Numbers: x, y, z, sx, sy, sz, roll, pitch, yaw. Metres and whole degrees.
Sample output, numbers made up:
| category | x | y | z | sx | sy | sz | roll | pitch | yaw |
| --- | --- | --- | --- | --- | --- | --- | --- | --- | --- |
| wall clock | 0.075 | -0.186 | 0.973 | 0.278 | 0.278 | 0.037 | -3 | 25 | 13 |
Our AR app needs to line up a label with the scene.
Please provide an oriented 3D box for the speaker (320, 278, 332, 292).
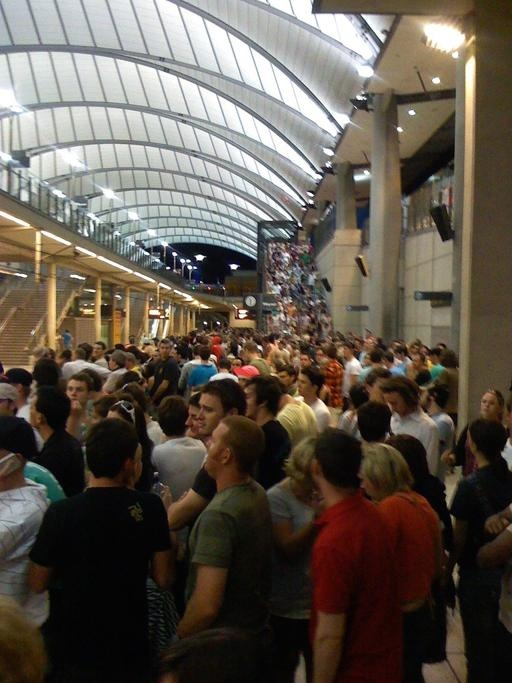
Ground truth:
| category | x | y | z | sx | sy | sz | roll | pitch | yaw |
| --- | --- | --- | --- | --- | --- | --- | --- | --- | --- |
| speaker | 3.951 | -3.089 | 27.217 | 0.223 | 0.663 | 0.935 | -19 | 8 | -6 |

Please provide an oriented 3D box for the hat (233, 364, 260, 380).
| category | x | y | z | sx | sy | sz | roll | pitch | yaw |
| --- | --- | --- | --- | --- | --- | --- | --- | --- | --- |
| hat | -0.106 | 0.411 | 7.540 | 0.459 | 0.168 | 0.293 | 1 | 8 | -5 |

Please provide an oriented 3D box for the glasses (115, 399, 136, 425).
| category | x | y | z | sx | sy | sz | roll | pitch | yaw |
| --- | --- | --- | --- | --- | --- | --- | --- | --- | --- |
| glasses | -0.877 | 0.486 | 3.383 | 0.045 | 0.150 | 0.147 | -7 | 12 | -30 |

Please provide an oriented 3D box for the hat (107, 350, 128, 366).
| category | x | y | z | sx | sy | sz | roll | pitch | yaw |
| --- | --- | --- | --- | --- | --- | --- | --- | --- | --- |
| hat | -2.117 | 0.270 | 7.571 | 0.219 | 0.241 | 0.258 | -5 | 45 | -16 |

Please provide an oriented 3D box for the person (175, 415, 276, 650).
| category | x | y | z | sx | sy | sz | roll | pitch | yaw |
| --- | --- | --- | --- | --- | --- | --- | --- | --- | --- |
| person | -0.105 | 0.761 | 2.001 | 0.346 | 0.704 | 0.392 | 4 | -2 | 7 |
